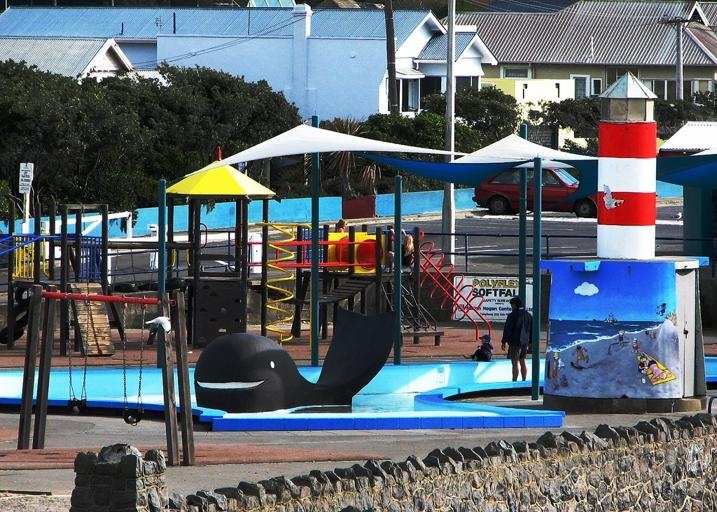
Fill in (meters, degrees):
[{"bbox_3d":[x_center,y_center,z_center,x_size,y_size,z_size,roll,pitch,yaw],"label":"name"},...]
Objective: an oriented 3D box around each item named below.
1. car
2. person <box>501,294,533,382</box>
[{"bbox_3d":[6.109,-1.796,61.938,4.682,2.196,2.348,-2,5,18],"label":"car"},{"bbox_3d":[3.436,1.800,36.834,0.645,1.805,0.578,-1,0,-42],"label":"person"}]
